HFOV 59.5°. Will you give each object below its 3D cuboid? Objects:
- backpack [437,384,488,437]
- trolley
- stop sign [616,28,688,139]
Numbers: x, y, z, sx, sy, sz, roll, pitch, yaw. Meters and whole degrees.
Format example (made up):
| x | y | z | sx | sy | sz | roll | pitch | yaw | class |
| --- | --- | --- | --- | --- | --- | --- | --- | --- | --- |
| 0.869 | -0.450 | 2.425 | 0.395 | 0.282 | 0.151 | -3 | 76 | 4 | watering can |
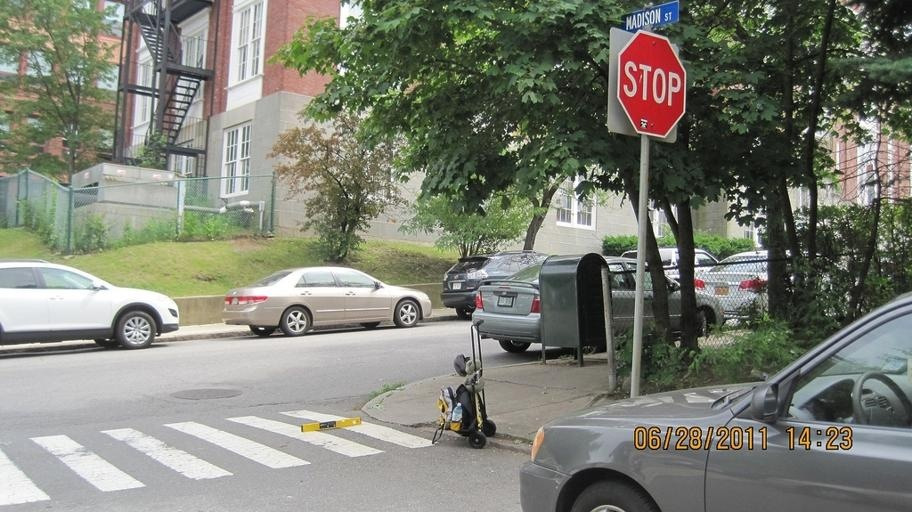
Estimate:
| x | y | z | sx | sy | sz | roll | pitch | yaw | class |
| --- | --- | --- | --- | --- | --- | --- | --- | --- | --- |
| 0.122 | 2.644 | 13.614 | 0.800 | 0.909 | 0.366 | -1 | 11 | -1 | backpack |
| 0.158 | 2.228 | 13.816 | 1.224 | 2.029 | 1.105 | -3 | 1 | -20 | trolley |
| 3.124 | -2.705 | 12.645 | 1.265 | 1.695 | 0.365 | -7 | 13 | -30 | stop sign |
